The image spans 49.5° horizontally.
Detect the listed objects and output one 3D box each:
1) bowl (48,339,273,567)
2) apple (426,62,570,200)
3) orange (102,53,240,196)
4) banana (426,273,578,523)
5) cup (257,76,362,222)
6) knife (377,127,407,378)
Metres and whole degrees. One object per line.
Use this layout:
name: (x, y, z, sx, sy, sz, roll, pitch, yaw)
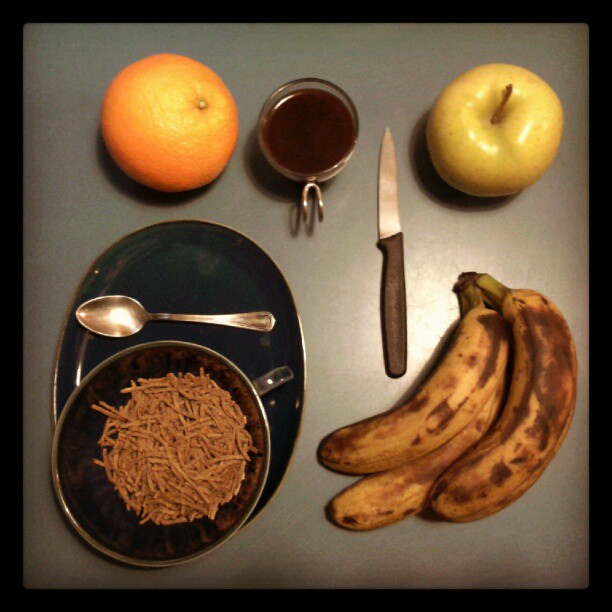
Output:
bowl: (-0.244, 0.182, 1.068, 0.332, 0.420, 0.145, -2, 0, 9)
apple: (0.307, -0.283, 1.205, 0.197, 0.229, 0.234, 24, 8, 2)
orange: (-0.212, -0.335, 1.171, 0.240, 0.253, 0.269, 1, 26, 4)
banana: (0.352, 0.152, 1.141, 0.217, 0.499, 0.118, 6, -35, 24)
cup: (0.000, -0.345, 1.206, 0.153, 0.164, 0.216, -12, 30, -18)
knife: (0.163, -0.097, 1.206, 0.041, 0.460, 0.018, -1, -3, -8)
